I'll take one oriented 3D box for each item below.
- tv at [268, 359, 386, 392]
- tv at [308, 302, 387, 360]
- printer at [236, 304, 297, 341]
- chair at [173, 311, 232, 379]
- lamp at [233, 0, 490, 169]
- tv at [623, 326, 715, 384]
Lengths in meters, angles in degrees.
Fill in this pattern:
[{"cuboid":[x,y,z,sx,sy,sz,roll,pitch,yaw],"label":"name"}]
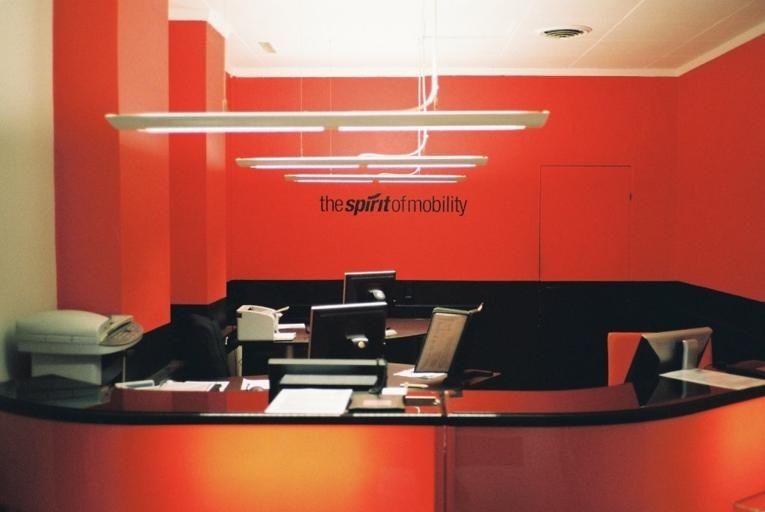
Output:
[{"cuboid":[-0.391,0.837,4.883,0.812,0.191,0.240,3,-1,-8],"label":"tv"},{"cuboid":[-0.270,0.604,5.518,0.448,0.392,0.155,-2,12,-14],"label":"tv"},{"cuboid":[-1.221,0.681,7.137,0.496,0.288,0.371,1,-1,-1],"label":"printer"},{"cuboid":[-1.594,0.841,6.279,0.339,0.586,0.631,4,-1,-44],"label":"chair"},{"cuboid":[-0.163,-1.894,7.299,1.610,1.515,0.859,1,12,1],"label":"lamp"},{"cuboid":[2.217,0.783,5.391,0.627,0.336,0.213,0,4,-24],"label":"tv"}]
